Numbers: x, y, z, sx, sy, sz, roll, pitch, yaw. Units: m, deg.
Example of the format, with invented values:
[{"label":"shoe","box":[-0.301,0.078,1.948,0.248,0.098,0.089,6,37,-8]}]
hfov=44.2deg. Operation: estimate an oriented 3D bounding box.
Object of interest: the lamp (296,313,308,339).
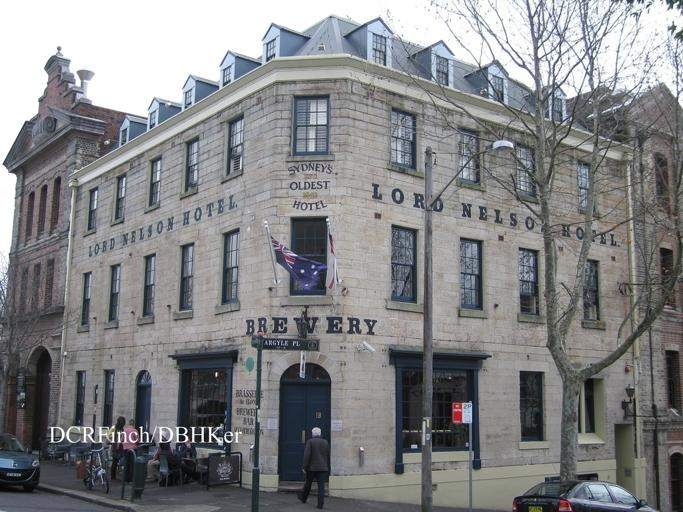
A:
[{"label":"lamp","box":[-1.421,2.515,29.852,0.462,0.856,0.156,2,-17,-6]}]

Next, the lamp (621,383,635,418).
[{"label":"lamp","box":[12.256,6.306,35.937,0.544,1.220,0.721,-13,-22,37]}]

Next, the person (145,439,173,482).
[{"label":"person","box":[-6.870,7.744,31.421,0.739,1.288,2.711,6,-19,-18]}]

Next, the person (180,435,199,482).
[{"label":"person","box":[-5.678,7.610,31.031,0.657,1.458,0.960,3,-17,-10]}]

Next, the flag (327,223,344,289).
[{"label":"flag","box":[-0.333,-0.102,29.766,0.503,2.550,1.008,-2,-17,6]}]
